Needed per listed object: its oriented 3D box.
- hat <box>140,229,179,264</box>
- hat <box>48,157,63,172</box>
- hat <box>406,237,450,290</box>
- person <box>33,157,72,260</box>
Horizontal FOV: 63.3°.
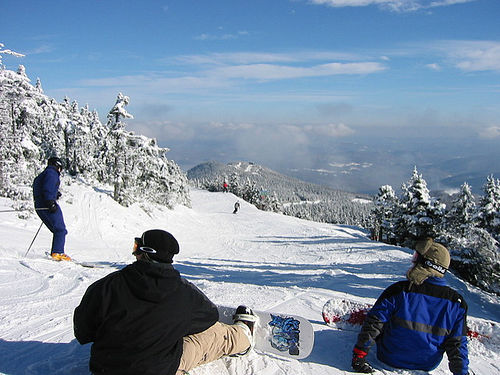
[{"bbox_3d":[-1.413,0.899,6.430,0.633,0.361,0.458,30,20,36],"label":"hat"},{"bbox_3d":[-5.555,-0.699,11.581,0.385,0.316,0.260,1,3,-35],"label":"hat"},{"bbox_3d":[3.047,1.327,6.982,0.661,0.879,0.333,4,3,23],"label":"hat"},{"bbox_3d":[-5.594,0.628,11.473,0.920,2.956,0.575,1,3,-28],"label":"person"}]
